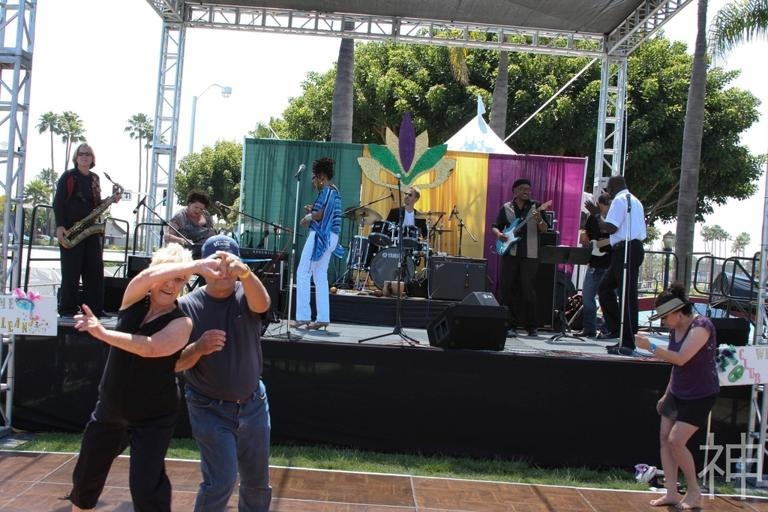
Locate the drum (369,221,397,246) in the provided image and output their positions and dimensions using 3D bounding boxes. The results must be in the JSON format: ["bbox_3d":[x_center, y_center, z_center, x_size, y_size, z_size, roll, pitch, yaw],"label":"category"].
[{"bbox_3d":[-0.026,-0.412,12.567,0.427,0.329,0.461,9,-35,6],"label":"drum"}]

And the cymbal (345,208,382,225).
[{"bbox_3d":[-0.370,-0.718,12.780,0.357,0.093,0.390,8,-29,9],"label":"cymbal"}]

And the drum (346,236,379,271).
[{"bbox_3d":[-0.453,-0.031,13.536,0.562,0.629,0.603,6,-21,8],"label":"drum"}]

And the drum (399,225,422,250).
[{"bbox_3d":[0.446,-0.331,12.471,0.389,0.400,0.391,4,-7,-28],"label":"drum"}]

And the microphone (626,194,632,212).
[{"bbox_3d":[3.357,-0.730,9.902,0.062,0.251,0.137,4,3,42],"label":"microphone"}]

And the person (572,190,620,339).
[{"bbox_3d":[3.233,0.147,11.181,0.574,2.403,0.737,10,-9,3],"label":"person"}]

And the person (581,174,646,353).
[{"bbox_3d":[3.273,0.051,10.212,0.781,2.492,0.813,0,1,7],"label":"person"}]

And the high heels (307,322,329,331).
[{"bbox_3d":[-0.960,1.023,10.432,0.240,0.115,0.132,15,-8,-3],"label":"high heels"}]

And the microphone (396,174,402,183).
[{"bbox_3d":[0.220,-1.205,10.970,0.097,0.135,0.133,-1,-15,4],"label":"microphone"}]

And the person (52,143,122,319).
[{"bbox_3d":[-4.175,-0.177,10.017,0.847,3.213,0.920,1,-3,-1],"label":"person"}]

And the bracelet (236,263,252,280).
[{"bbox_3d":[-1.334,0.149,6.908,0.103,0.152,0.075,4,-3,0],"label":"bracelet"}]

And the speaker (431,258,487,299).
[{"bbox_3d":[1.193,0.370,11.775,0.925,0.723,0.312,2,3,-1],"label":"speaker"}]

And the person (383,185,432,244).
[{"bbox_3d":[0.457,-0.777,12.978,0.512,1.108,0.642,0,28,2],"label":"person"}]

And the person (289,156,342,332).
[{"bbox_3d":[-0.890,-0.156,10.494,0.727,2.520,0.697,2,-5,12],"label":"person"}]

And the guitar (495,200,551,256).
[{"bbox_3d":[2.031,-0.406,10.764,0.705,0.808,0.483,3,3,9],"label":"guitar"}]

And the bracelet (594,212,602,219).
[{"bbox_3d":[3.167,-0.609,10.674,0.048,0.056,0.201,-26,-18,29],"label":"bracelet"}]

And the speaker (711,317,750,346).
[{"bbox_3d":[4.587,0.993,9.528,0.560,0.457,0.355,1,3,22],"label":"speaker"}]

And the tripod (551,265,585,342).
[{"bbox_3d":[3.081,0.762,12.336,0.596,1.563,0.620,3,-2,-5],"label":"tripod"}]

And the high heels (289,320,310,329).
[{"bbox_3d":[-1.215,0.986,10.448,0.316,0.171,0.116,7,-3,-7],"label":"high heels"}]

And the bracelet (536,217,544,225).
[{"bbox_3d":[2.307,-0.518,10.682,0.027,0.085,0.106,-40,16,-18],"label":"bracelet"}]
